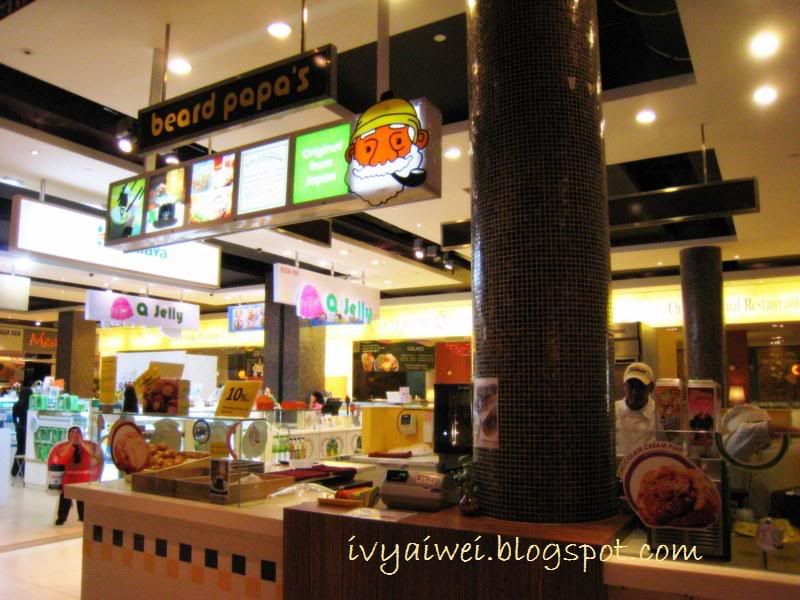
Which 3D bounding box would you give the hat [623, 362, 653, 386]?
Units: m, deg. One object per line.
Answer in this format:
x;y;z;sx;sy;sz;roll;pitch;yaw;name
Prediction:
1.974;0.572;5.477;0.205;0.168;0.332;0;-16;29;hat

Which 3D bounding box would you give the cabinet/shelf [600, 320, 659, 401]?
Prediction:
3.994;1.190;11.459;0.724;1.457;1.005;-9;-12;32;cabinet/shelf
